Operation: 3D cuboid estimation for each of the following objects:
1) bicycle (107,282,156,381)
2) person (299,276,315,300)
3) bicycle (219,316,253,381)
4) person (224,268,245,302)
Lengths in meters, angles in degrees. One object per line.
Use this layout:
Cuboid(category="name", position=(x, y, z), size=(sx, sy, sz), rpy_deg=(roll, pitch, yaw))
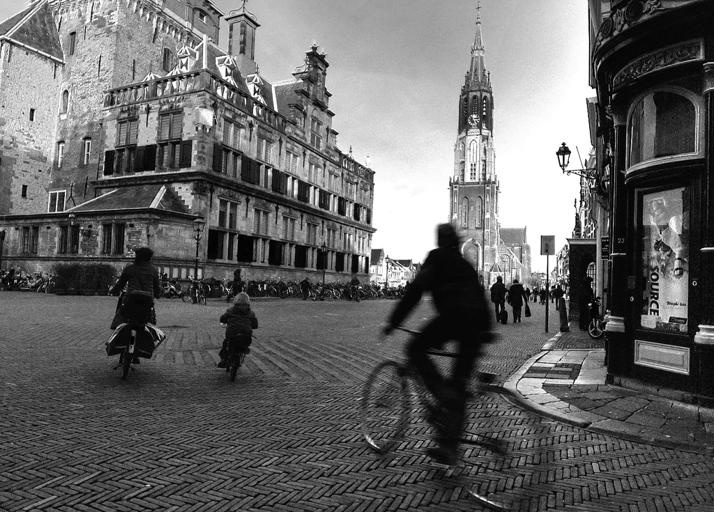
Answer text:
Cuboid(category="bicycle", position=(-3.889, 1.344, 11.606), size=(0.865, 1.497, 0.808), rpy_deg=(0, 6, -20))
Cuboid(category="person", position=(-3.224, 2.040, 42.283), size=(1.146, 2.148, 0.717), rpy_deg=(0, 2, 17))
Cuboid(category="bicycle", position=(-2.110, 1.564, 11.746), size=(0.533, 1.189, 0.741), rpy_deg=(-1, 6, -27))
Cuboid(category="person", position=(-5.576, 1.264, 30.038), size=(0.948, 1.219, 1.961), rpy_deg=(4, -17, -16))
